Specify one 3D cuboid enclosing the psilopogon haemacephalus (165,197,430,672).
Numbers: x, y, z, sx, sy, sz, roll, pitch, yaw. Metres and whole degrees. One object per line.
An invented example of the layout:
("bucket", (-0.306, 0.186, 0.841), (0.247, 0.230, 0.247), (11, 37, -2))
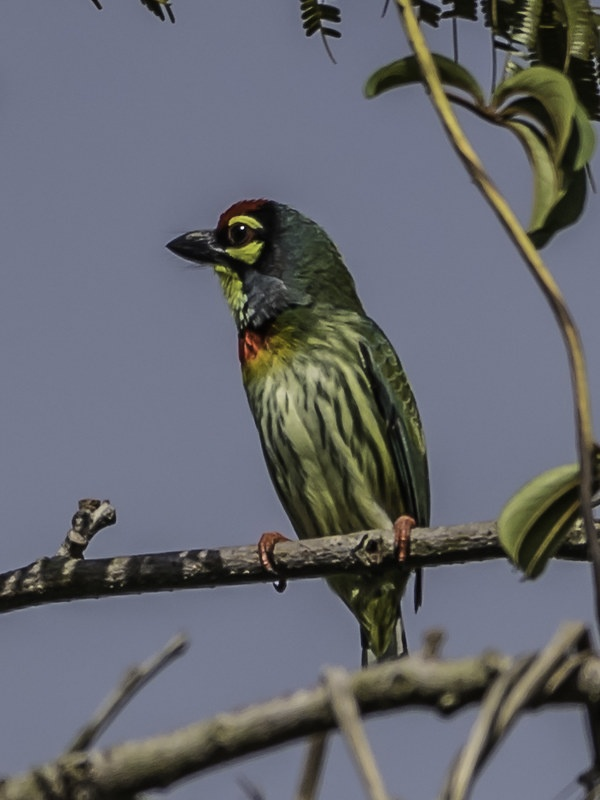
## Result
("psilopogon haemacephalus", (0.015, -0.065, 4.002), (0.474, 0.887, 0.347), (-17, -22, 4))
